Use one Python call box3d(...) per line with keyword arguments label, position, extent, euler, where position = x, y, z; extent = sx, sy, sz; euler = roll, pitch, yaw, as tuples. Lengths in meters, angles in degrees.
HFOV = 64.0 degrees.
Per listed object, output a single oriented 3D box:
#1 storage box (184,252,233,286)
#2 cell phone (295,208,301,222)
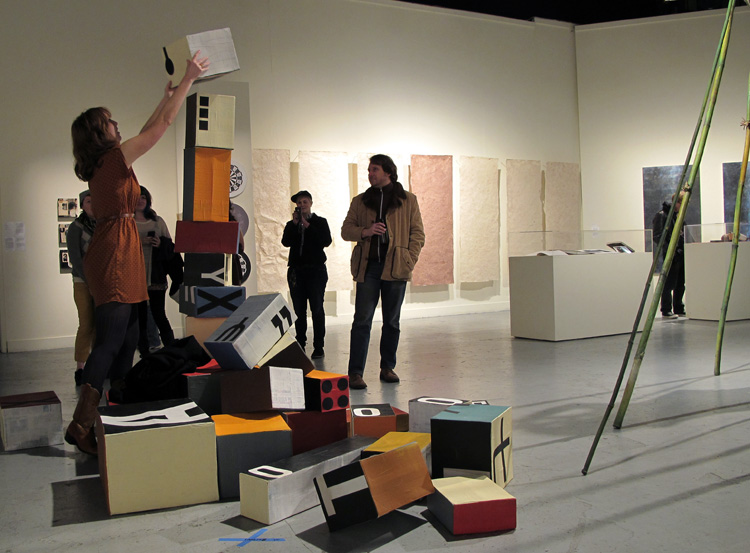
box3d(label="storage box", position=(-1.048, -0.047, 3.704), extent=(0.204, 0.135, 0.208), euler=(-1, 2, -10))
box3d(label="cell phone", position=(-0.813, -0.653, 6.302), extent=(0.087, 0.125, 0.033), euler=(-2, -7, 41))
